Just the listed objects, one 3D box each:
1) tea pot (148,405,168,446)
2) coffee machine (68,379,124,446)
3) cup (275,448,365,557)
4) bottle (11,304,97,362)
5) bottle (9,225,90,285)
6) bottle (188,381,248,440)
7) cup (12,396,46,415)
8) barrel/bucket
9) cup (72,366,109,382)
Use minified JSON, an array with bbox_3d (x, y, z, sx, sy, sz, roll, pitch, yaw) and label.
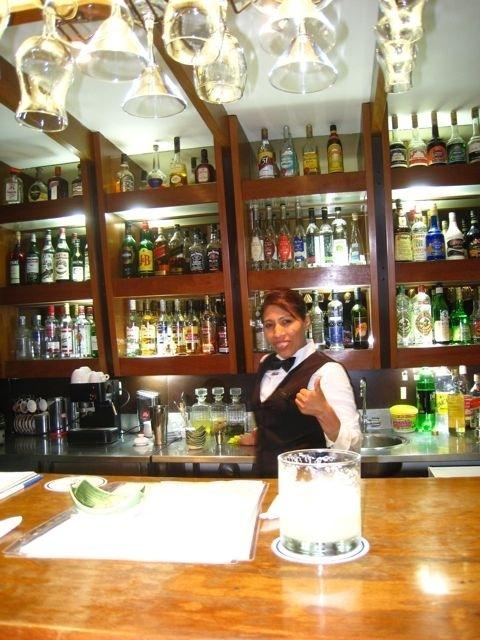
[{"bbox_3d":[-0.416,0.582,2.903,0.132,0.205,0.133,-3,-18,-1],"label":"tea pot"},{"bbox_3d":[-0.837,0.514,3.061,0.255,0.355,0.320,-4,-6,-1],"label":"coffee machine"},{"bbox_3d":[0.121,0.298,0.912,0.171,0.174,0.164,-1,-8,0],"label":"cup"},{"bbox_3d":[-1.152,0.095,3.313,0.371,0.321,0.189,-1,-2,13],"label":"bottle"},{"bbox_3d":[-1.183,-0.397,3.315,0.426,0.370,0.099,-1,-6,2],"label":"bottle"},{"bbox_3d":[-0.111,0.520,3.029,0.313,0.266,0.098,0,-2,10],"label":"bottle"},{"bbox_3d":[-1.260,0.520,3.219,0.130,0.056,0.134,0,-6,0],"label":"cup"},{"bbox_3d":[0.131,0.305,0.863,0.132,0.108,0.101,-2,-1,5],"label":"barrel/bucket"},{"bbox_3d":[-0.847,0.310,3.015,0.203,0.090,0.193,-2,-1,0],"label":"cup"}]
